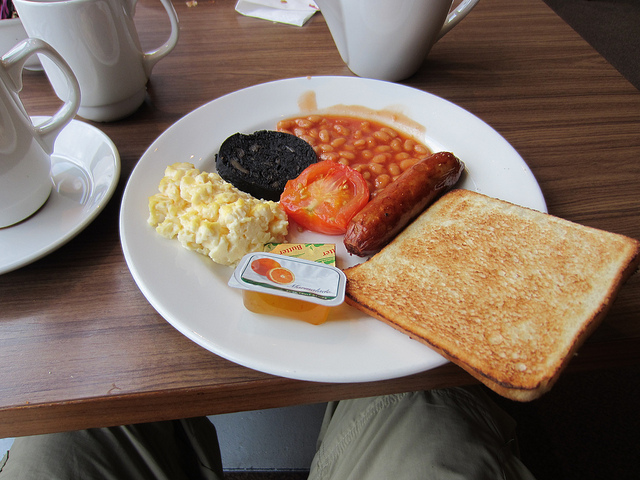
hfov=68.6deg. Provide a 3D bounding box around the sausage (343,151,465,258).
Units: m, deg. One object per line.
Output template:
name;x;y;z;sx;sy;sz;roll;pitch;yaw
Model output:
sausage;0.313;-0.154;1.721;0.590;0.151;0.171;-41;42;-20

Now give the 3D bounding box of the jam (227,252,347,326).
jam;-0.103;0.138;1.411;0.328;0.113;0.198;12;41;3

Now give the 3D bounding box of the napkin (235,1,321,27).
napkin;-0.230;-1.157;2.415;0.513;0.115;0.412;-2;18;-14

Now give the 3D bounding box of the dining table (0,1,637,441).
dining table;0.149;-0.319;2.002;2.477;0.592;1.939;-4;63;-6
